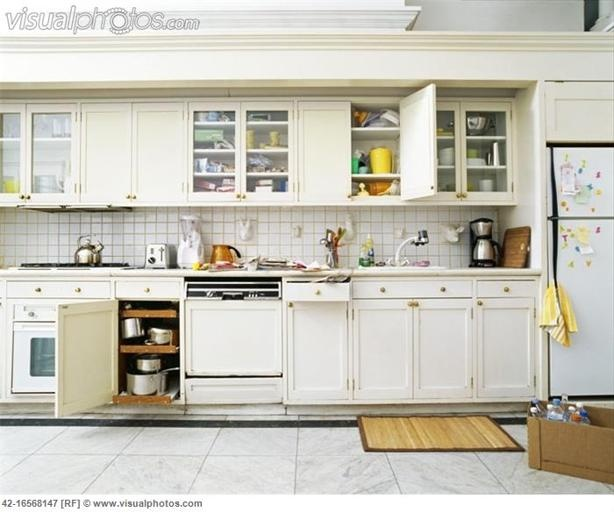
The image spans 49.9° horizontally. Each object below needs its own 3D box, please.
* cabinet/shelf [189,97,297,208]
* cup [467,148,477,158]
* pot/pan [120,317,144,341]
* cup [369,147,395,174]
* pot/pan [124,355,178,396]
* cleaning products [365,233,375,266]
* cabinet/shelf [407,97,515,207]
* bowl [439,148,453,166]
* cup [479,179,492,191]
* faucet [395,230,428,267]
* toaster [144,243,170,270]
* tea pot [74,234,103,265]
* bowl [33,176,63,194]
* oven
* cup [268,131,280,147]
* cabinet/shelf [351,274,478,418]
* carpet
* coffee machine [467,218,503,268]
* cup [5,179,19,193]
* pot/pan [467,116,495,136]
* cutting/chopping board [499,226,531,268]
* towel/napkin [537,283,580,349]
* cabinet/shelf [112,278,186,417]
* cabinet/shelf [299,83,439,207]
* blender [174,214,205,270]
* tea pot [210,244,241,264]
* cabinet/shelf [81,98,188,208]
[{"bbox_3d":[-0.526,-0.862,5.384,1.008,0.818,0.330,0,-2,0],"label":"cabinet/shelf"},{"bbox_3d":[1.359,-0.853,5.448,0.082,0.068,0.077,1,1,0],"label":"cup"},{"bbox_3d":[-1.352,0.553,5.077,0.185,0.156,0.162,-1,-1,-21],"label":"pot/pan"},{"bbox_3d":[0.617,-0.793,5.488,0.236,0.166,0.182,1,-2,-9],"label":"cup"},{"bbox_3d":[-1.220,0.914,5.058,0.416,0.142,0.229,-3,7,-27],"label":"pot/pan"},{"bbox_3d":[0.543,-0.057,5.638,0.072,0.266,0.132,-1,3,5],"label":"cleaning products"},{"bbox_3d":[1.239,-0.865,5.329,1.013,0.807,0.373,0,-2,3],"label":"cabinet/shelf"},{"bbox_3d":[1.150,-0.816,5.423,0.149,0.139,0.143,0,1,0],"label":"bowl"},{"bbox_3d":[1.471,-0.587,5.436,0.106,0.088,0.090,-1,3,-14],"label":"cup"},{"bbox_3d":[0.864,-0.071,5.512,0.305,0.301,0.470,-1,3,10],"label":"faucet"},{"bbox_3d":[-1.257,-0.004,5.517,0.179,0.193,0.177,-2,3,-13],"label":"toaster"},{"bbox_3d":[-1.840,-0.057,5.592,0.235,0.263,0.302,-2,3,-17],"label":"tea pot"},{"bbox_3d":[-2.111,-0.586,5.400,0.262,0.162,0.135,0,3,0],"label":"bowl"},{"bbox_3d":[-0.496,0.664,5.251,0.806,0.910,0.557,-3,-10,16],"label":"oven"},{"bbox_3d":[-0.267,-0.964,5.425,0.123,0.165,0.120,1,1,0],"label":"cup"},{"bbox_3d":[0.968,0.686,5.221,1.081,0.929,0.579,-7,-18,35],"label":"cabinet/shelf"},{"bbox_3d":[0.936,1.276,4.768,1.119,0.127,0.475,-1,3,1],"label":"carpet"},{"bbox_3d":[1.486,-0.115,5.547,0.279,0.399,0.244,0,3,22],"label":"coffee machine"},{"bbox_3d":[-2.410,-0.575,5.396,0.114,0.113,0.116,2,5,0],"label":"cup"},{"bbox_3d":[1.416,-1.076,5.373,0.260,0.083,0.164,1,-6,4],"label":"pot/pan"},{"bbox_3d":[1.639,-0.066,5.296,0.375,0.344,0.036,-1,12,-42],"label":"cutting/chopping board"},{"bbox_3d":[1.900,0.441,4.989,0.267,0.493,0.120,-1,3,15],"label":"towel/napkin"},{"bbox_3d":[-1.204,0.659,5.232,0.684,0.959,0.711,1,1,-20],"label":"cabinet/shelf"},{"bbox_3d":[0.452,-0.830,5.350,1.288,0.775,0.624,0,-4,1],"label":"cabinet/shelf"},{"bbox_3d":[-0.973,-0.126,5.527,0.231,0.439,0.442,-2,3,-10],"label":"blender"},{"bbox_3d":[-0.683,-0.022,5.596,0.234,0.131,0.155,3,-4,-22],"label":"tea pot"},{"bbox_3d":[-1.427,-0.875,5.365,1.006,0.799,0.368,0,1,0],"label":"cabinet/shelf"}]
